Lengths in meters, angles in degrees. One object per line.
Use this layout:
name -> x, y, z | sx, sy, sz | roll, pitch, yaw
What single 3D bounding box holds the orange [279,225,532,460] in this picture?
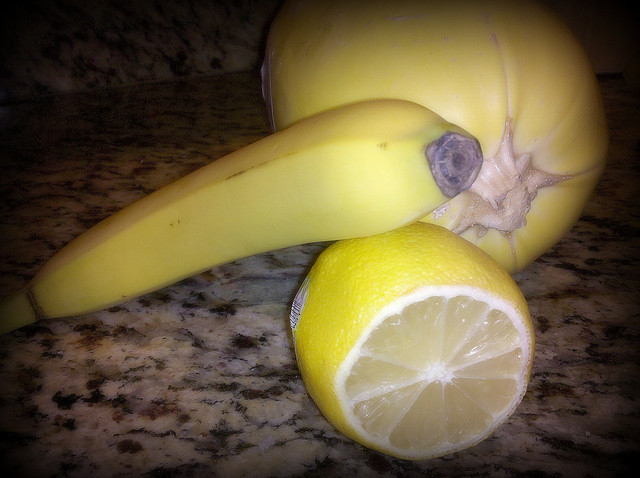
orange -> 0.175, 0.175, 1.168 | 0.421, 0.322, 0.443 | -7, 104, -7
